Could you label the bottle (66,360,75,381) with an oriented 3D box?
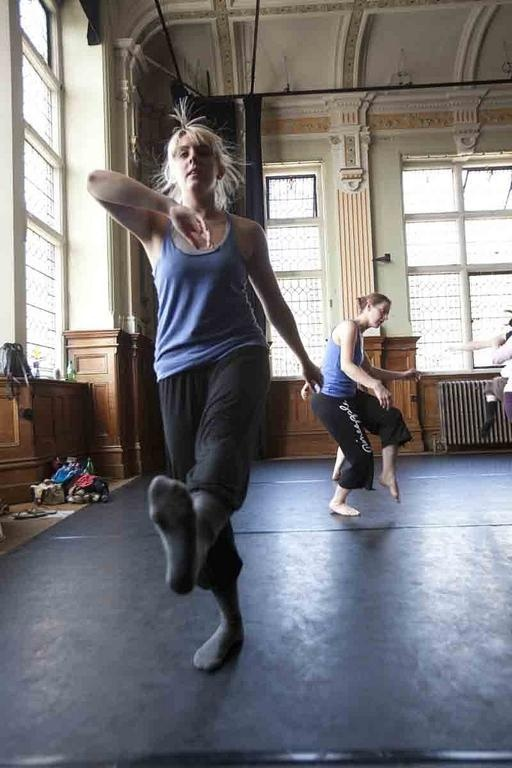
[{"bbox_3d":[-1.864,-0.132,6.032,0.088,0.176,0.280,-7,3,-17],"label":"bottle"}]
